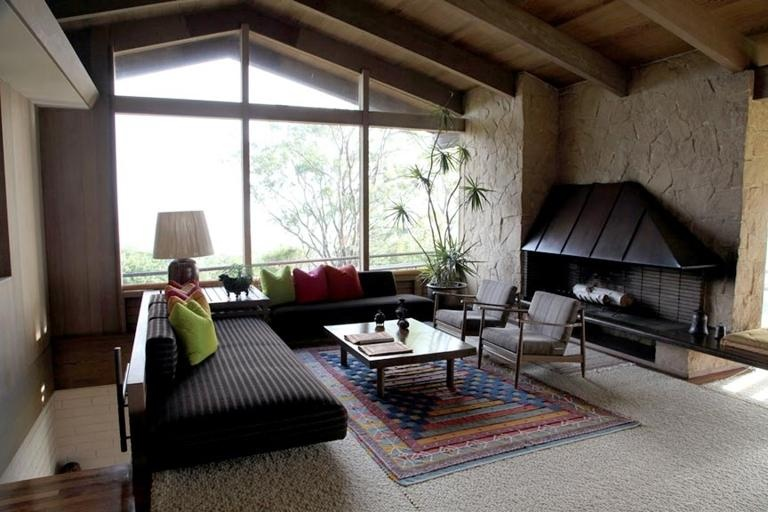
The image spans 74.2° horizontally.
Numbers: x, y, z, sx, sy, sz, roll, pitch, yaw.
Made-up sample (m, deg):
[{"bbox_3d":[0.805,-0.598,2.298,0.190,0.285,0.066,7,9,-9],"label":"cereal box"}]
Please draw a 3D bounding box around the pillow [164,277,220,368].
[{"bbox_3d":[-2.056,0.731,5.425,0.378,0.837,0.807,-17,0,7],"label":"pillow"}]

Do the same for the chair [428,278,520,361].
[{"bbox_3d":[1.259,0.850,7.142,0.941,0.860,1.086,-1,1,-20],"label":"chair"}]

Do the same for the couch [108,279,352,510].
[{"bbox_3d":[-1.463,0.557,4.575,1.694,1.006,3.606,-5,16,-21],"label":"couch"}]

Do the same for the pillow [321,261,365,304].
[{"bbox_3d":[-0.607,0.340,8.235,0.961,0.748,0.493,-4,6,-37],"label":"pillow"}]

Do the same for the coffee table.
[{"bbox_3d":[0.287,1.327,5.863,0.938,0.376,1.232,-2,6,-24],"label":"coffee table"}]
